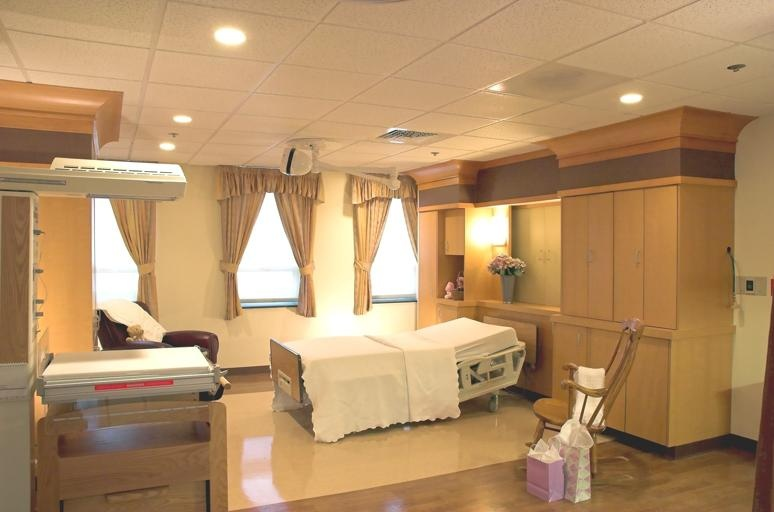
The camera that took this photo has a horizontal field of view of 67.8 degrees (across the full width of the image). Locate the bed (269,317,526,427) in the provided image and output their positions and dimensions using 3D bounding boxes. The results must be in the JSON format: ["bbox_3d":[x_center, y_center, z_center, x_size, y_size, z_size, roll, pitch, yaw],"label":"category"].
[{"bbox_3d":[0.118,1.311,6.661,2.311,0.741,1.286,0,-1,-22],"label":"bed"}]

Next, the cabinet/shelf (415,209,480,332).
[{"bbox_3d":[0.864,0.187,8.661,0.564,1.835,1.221,-3,8,-24],"label":"cabinet/shelf"}]

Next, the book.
[{"bbox_3d":[-1.640,0.749,3.607,0.701,0.139,0.660,1,1,-20],"label":"book"}]

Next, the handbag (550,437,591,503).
[{"bbox_3d":[1.591,1.818,4.915,0.348,0.502,0.243,1,7,9],"label":"handbag"}]

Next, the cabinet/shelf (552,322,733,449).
[{"bbox_3d":[2.754,1.170,6.323,1.232,1.389,2.038,1,-1,-24],"label":"cabinet/shelf"}]

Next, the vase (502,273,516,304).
[{"bbox_3d":[1.614,0.436,7.714,0.190,0.383,0.162,-2,8,-12],"label":"vase"}]

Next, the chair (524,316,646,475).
[{"bbox_3d":[1.819,1.345,5.481,0.989,1.305,0.880,12,7,39],"label":"chair"}]

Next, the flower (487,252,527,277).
[{"bbox_3d":[1.591,0.113,7.793,0.381,0.230,0.358,1,-3,-2],"label":"flower"}]
